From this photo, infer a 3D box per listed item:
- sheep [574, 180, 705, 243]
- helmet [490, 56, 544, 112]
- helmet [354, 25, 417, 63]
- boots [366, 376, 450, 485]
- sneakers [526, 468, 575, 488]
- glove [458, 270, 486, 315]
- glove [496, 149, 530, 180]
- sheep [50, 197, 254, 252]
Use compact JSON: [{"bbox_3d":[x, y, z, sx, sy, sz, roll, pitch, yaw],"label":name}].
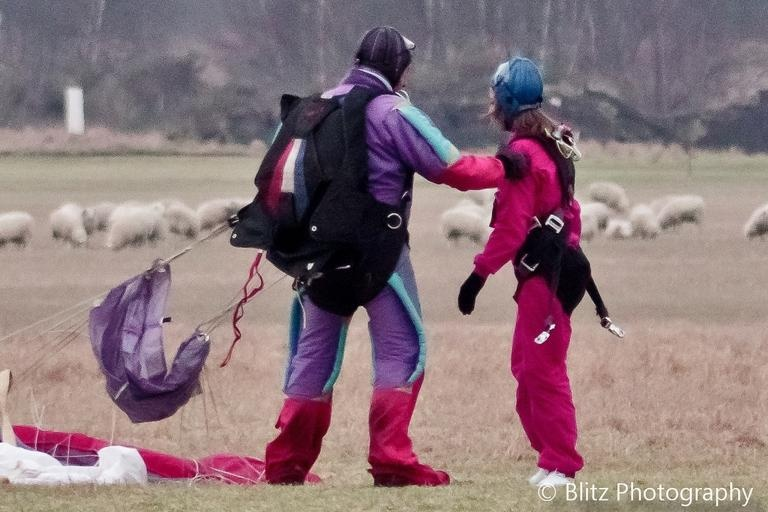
[{"bbox_3d":[2.379,-0.401,16.678,1.094,0.482,0.307,2,13,7],"label":"sheep"},{"bbox_3d":[1.047,-1.316,14.050,0.424,0.416,0.469,-6,-5,-9],"label":"helmet"},{"bbox_3d":[0.005,-1.622,13.824,0.380,0.131,0.259,-7,23,-9],"label":"helmet"},{"bbox_3d":[0.092,1.409,13.696,0.829,0.887,0.642,1,-4,-14],"label":"boots"},{"bbox_3d":[1.262,1.718,13.764,0.372,0.128,0.123,3,-5,5],"label":"sneakers"},{"bbox_3d":[0.695,0.297,13.863,0.217,0.321,0.093,23,5,20],"label":"glove"},{"bbox_3d":[0.970,-0.695,13.789,0.258,0.106,0.195,33,30,26],"label":"glove"},{"bbox_3d":[-2.226,-0.285,16.451,1.583,0.402,0.405,-1,13,-10],"label":"sheep"}]
